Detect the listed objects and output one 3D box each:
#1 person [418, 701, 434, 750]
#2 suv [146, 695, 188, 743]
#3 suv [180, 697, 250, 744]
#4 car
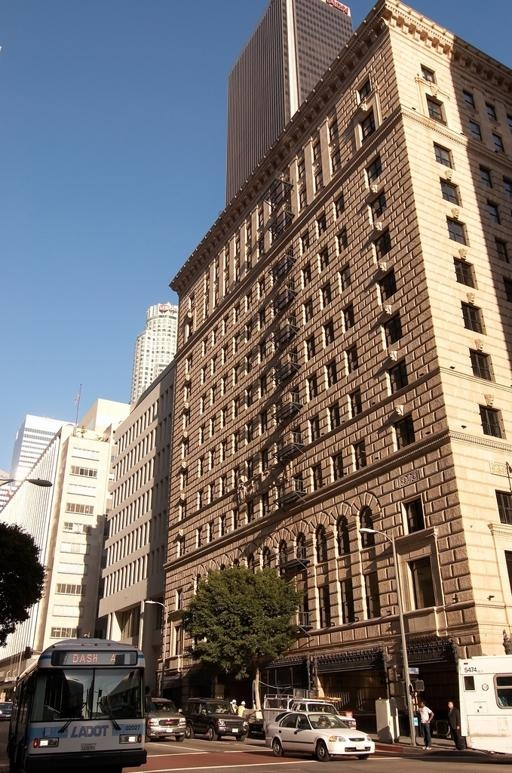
[{"bbox_3d":[6.016,12.030,22.080,0.430,1.390,2.333,-6,-26,11],"label":"person"},{"bbox_3d":[-3.969,14.607,27.189,1.589,1.664,2.775,3,-26,-8],"label":"suv"},{"bbox_3d":[-1.871,15.544,29.075,1.739,1.704,3.280,11,-34,-20],"label":"suv"},{"bbox_3d":[1.924,10.867,19.702,1.611,1.239,3.594,14,-34,-28],"label":"car"}]
